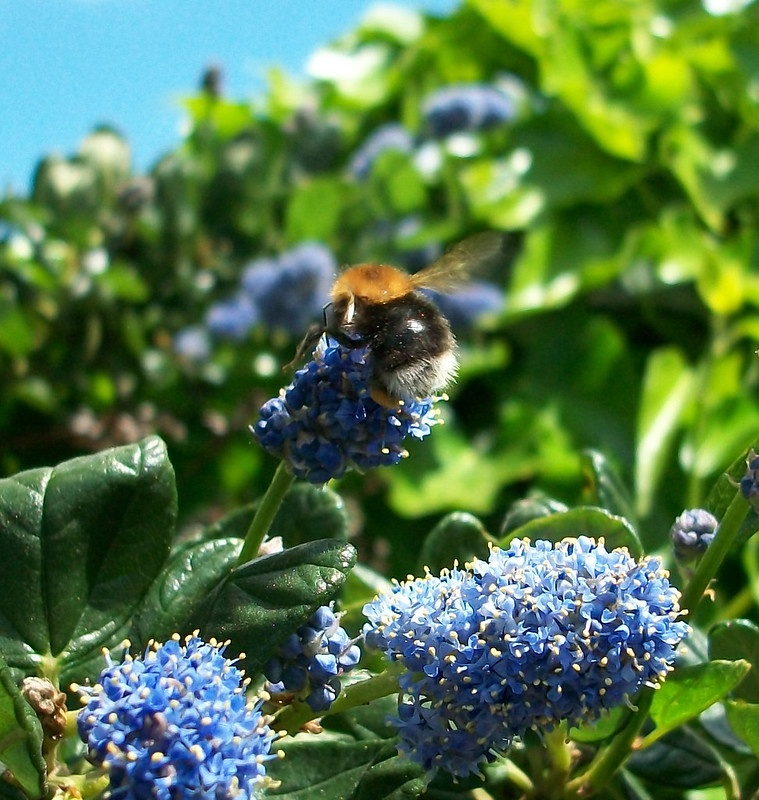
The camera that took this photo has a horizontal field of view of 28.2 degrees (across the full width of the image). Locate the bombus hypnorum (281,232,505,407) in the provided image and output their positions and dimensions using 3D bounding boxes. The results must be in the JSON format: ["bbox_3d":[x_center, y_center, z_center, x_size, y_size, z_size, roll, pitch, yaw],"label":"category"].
[{"bbox_3d":[0.014,-0.075,1.507,0.257,0.167,0.117,-13,-52,-40],"label":"bombus hypnorum"}]
